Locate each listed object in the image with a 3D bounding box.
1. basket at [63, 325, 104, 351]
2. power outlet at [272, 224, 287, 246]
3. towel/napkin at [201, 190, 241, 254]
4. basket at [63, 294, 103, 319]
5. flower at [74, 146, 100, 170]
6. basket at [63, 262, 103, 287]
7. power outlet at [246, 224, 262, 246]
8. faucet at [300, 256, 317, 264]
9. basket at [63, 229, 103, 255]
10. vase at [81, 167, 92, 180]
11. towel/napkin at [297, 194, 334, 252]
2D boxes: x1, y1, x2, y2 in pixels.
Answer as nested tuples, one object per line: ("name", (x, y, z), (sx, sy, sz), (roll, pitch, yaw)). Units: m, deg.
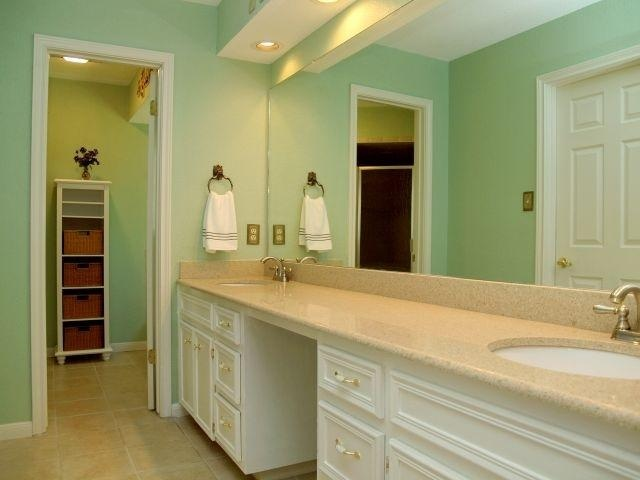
("basket", (-2.442, 0.959, 4.794), (0.246, 0.166, 0.247), (3, -5, -28))
("power outlet", (-0.305, -0.044, 3.472), (0.149, 0.213, 0.022), (-1, -2, 40))
("towel/napkin", (-0.741, -0.152, 3.406), (0.241, 0.443, 0.148), (0, 2, -19))
("basket", (-2.411, 0.658, 4.742), (0.357, 0.262, 0.209), (1, 2, -21))
("flower", (-2.384, -0.836, 4.750), (0.226, 0.249, 0.094), (-2, 8, -16))
("basket", (-2.416, 0.334, 4.723), (0.385, 0.283, 0.214), (1, 2, -19))
("power outlet", (-0.524, -0.052, 3.576), (0.148, 0.231, 0.018), (-2, 5, -37))
("faucet", (-0.088, 0.136, 3.159), (0.078, 0.030, 0.057), (7, -8, -43))
("basket", (-2.410, 0.016, 4.730), (0.414, 0.317, 0.219), (0, 4, -27))
("vase", (-2.411, -0.681, 4.790), (0.081, 0.125, 0.142), (-1, 2, -26))
("towel/napkin", (-0.029, -0.113, 3.128), (0.069, 0.531, 0.367), (0, -1, -39))
